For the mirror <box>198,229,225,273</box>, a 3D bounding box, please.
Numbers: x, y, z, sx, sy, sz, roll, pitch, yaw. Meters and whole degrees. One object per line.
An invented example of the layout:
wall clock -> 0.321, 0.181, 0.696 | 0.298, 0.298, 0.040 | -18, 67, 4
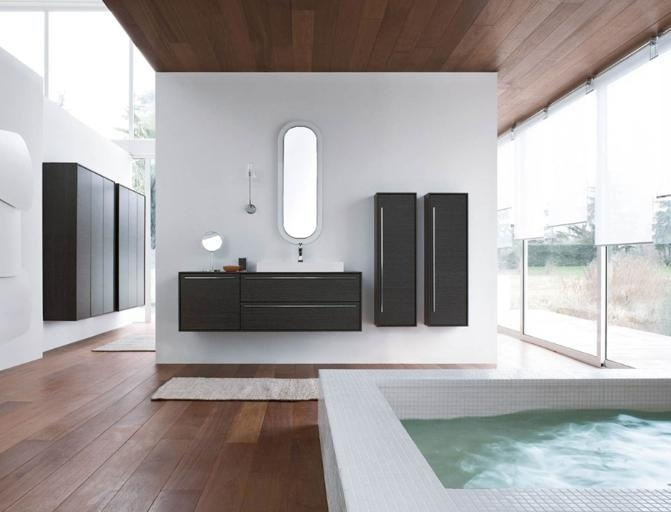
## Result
mirror -> -1.319, -0.056, 5.251 | 0.238, 0.406, 0.109 | -5, 10, -15

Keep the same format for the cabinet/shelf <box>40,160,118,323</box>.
cabinet/shelf -> -3.303, -0.166, 6.179 | 0.458, 1.995, 1.015 | -2, 9, 2

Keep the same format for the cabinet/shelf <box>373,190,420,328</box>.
cabinet/shelf -> 0.606, 0.039, 5.098 | 0.468, 1.426, 0.199 | 0, -1, -6

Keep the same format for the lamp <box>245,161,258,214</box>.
lamp -> -0.930, -0.709, 5.281 | 0.127, 0.526, 0.096 | -5, 10, -12

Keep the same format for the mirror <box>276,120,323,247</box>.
mirror -> -0.387, -0.789, 5.321 | 0.502, 1.367, 0.063 | 0, -2, -3

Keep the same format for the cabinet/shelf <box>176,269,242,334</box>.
cabinet/shelf -> -1.228, 0.476, 5.049 | 0.650, 0.616, 0.372 | -2, -9, 10

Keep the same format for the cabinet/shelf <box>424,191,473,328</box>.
cabinet/shelf -> 1.150, 0.037, 5.106 | 0.453, 1.377, 0.223 | 1, -3, -2
